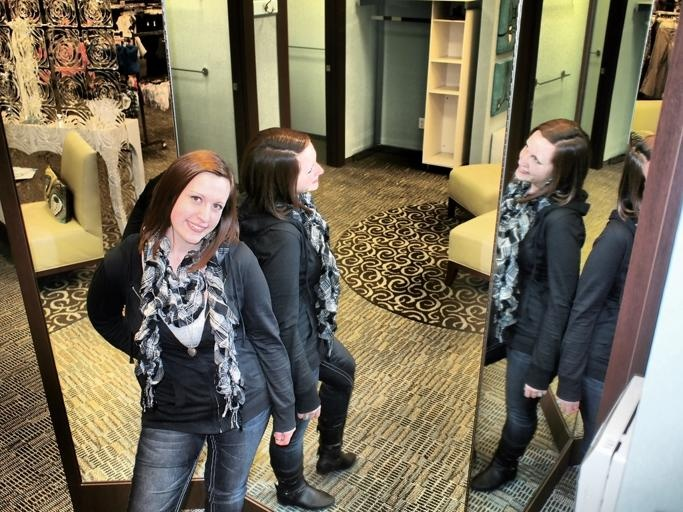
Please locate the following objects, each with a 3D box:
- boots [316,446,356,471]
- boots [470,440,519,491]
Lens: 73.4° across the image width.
[{"bbox_3d":[-0.034,0.998,2.265,0.164,0.123,0.067,-11,37,-19],"label":"boots"},{"bbox_3d":[0.608,0.815,1.804,0.215,0.210,0.091,-16,35,-12],"label":"boots"}]
